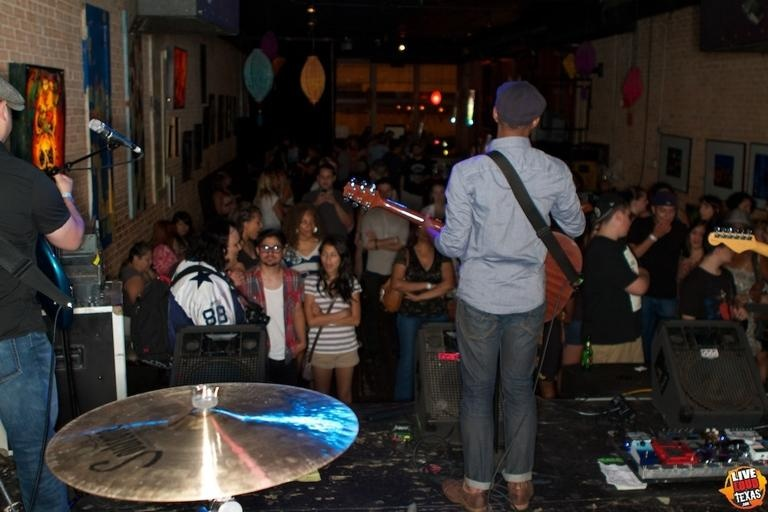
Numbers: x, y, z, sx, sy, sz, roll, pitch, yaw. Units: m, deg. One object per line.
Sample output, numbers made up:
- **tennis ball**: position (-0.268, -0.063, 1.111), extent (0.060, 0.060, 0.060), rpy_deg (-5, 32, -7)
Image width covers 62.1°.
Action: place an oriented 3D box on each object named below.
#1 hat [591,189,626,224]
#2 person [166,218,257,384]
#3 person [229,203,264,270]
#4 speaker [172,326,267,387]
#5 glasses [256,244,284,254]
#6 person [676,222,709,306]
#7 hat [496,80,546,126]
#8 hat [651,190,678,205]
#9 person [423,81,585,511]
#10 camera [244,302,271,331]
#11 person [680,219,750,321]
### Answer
- **hat**: position (1.863, -0.397, 5.264), extent (0.259, 0.247, 0.311), rpy_deg (3, 7, 19)
- **person**: position (-1.338, 0.364, 4.823), extent (0.507, 1.147, 0.807), rpy_deg (1, 6, -19)
- **person**: position (-1.225, -0.151, 5.674), extent (0.235, 0.747, 0.281), rpy_deg (-2, 39, -10)
- **speaker**: position (-1.123, 0.672, 4.347), extent (0.618, 0.367, 0.170), rpy_deg (0, 7, -6)
- **glasses**: position (-0.917, -0.062, 5.150), extent (0.186, 0.052, 0.044), rpy_deg (0, 7, -9)
- **person**: position (2.864, 0.073, 5.892), extent (0.182, 0.744, 0.402), rpy_deg (18, 11, 24)
- **hat**: position (0.831, -0.929, 3.813), extent (0.333, 0.187, 0.429), rpy_deg (3, 42, 2)
- **hat**: position (2.806, -0.575, 6.344), extent (0.241, 0.149, 0.224), rpy_deg (2, 7, 13)
- **person**: position (0.720, 0.255, 3.880), extent (0.837, 2.595, 0.366), rpy_deg (1, 7, 4)
- **camera**: position (-0.927, 0.428, 4.633), extent (0.135, 0.079, 0.178), rpy_deg (29, -8, -34)
- **person**: position (2.862, 0.144, 5.467), extent (0.439, 0.837, 0.575), rpy_deg (12, 34, 41)
